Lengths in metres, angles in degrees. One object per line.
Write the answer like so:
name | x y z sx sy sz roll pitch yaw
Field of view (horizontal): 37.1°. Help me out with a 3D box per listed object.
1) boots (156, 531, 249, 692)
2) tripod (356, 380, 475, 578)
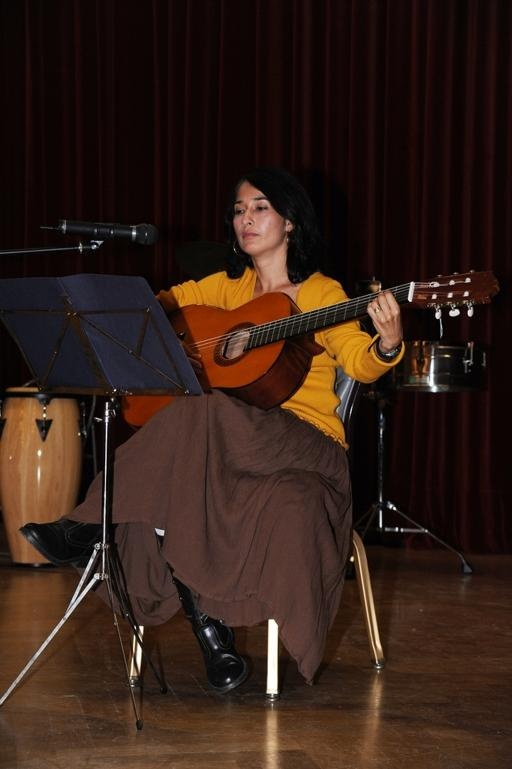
boots | -0.089 0.480 1.454 0.144 0.216 0.113 2 -4 -7
tripod | 0.591 0.367 3.350 0.617 0.944 0.662 -3 6 -1
